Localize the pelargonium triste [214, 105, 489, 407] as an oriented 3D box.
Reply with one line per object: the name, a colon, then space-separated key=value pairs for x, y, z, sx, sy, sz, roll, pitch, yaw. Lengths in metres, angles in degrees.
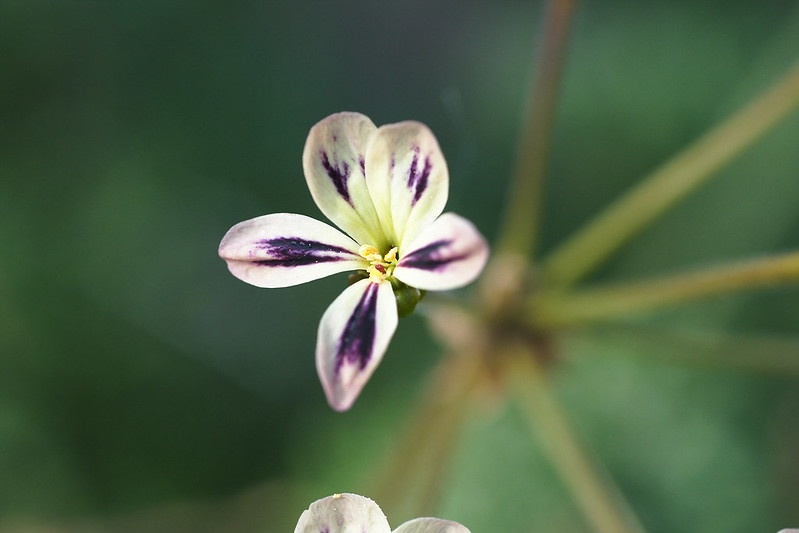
pelargonium triste: x=-0.099 y=-0.023 z=1.798 sx=0.624 sy=0.685 sz=0.173 roll=-9 pitch=-11 yaw=15
